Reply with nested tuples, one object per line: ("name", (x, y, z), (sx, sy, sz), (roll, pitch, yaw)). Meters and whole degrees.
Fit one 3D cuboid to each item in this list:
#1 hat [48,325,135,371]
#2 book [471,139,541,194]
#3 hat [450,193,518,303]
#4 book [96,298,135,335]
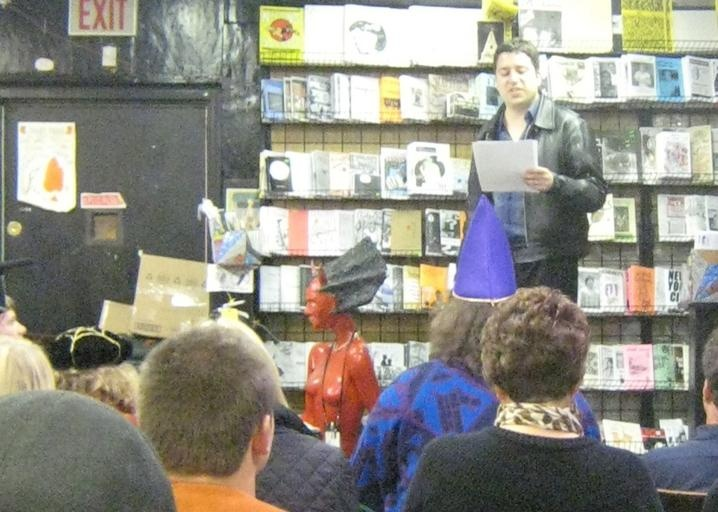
("hat", (-1.391, 0.527, 6.788), (0.459, 0.189, 0.380), (-10, -12, 26))
("book", (0.856, -0.527, 7.268), (0.309, 0.350, 0.051), (0, 40, 12))
("hat", (0.711, 0.028, 7.041), (0.373, 0.671, 0.491), (-4, -17, 2))
("book", (-1.666, 0.420, 8.718), (0.238, 0.311, 0.065), (1, -2, 9))
